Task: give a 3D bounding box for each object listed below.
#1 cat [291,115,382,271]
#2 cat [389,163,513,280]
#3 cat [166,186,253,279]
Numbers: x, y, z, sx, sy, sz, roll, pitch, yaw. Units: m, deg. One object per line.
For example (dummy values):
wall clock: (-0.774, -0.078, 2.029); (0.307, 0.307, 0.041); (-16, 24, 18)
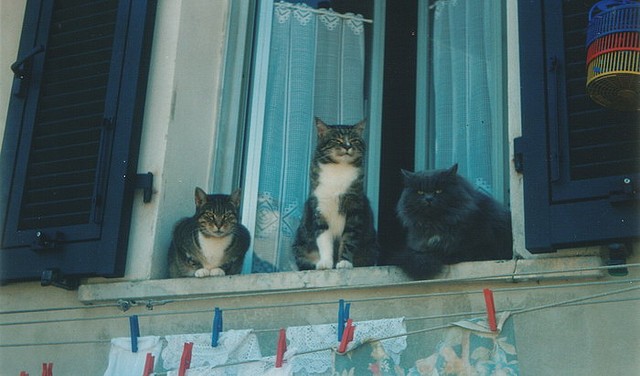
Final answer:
cat: (0.083, 0.025, 6.395); (0.531, 0.968, 0.224); (-1, -10, -2)
cat: (0.784, 0.188, 6.134); (0.779, 0.487, 0.522); (3, -12, -43)
cat: (-0.769, 0.309, 6.595); (0.577, 0.542, 0.770); (5, -2, -27)
